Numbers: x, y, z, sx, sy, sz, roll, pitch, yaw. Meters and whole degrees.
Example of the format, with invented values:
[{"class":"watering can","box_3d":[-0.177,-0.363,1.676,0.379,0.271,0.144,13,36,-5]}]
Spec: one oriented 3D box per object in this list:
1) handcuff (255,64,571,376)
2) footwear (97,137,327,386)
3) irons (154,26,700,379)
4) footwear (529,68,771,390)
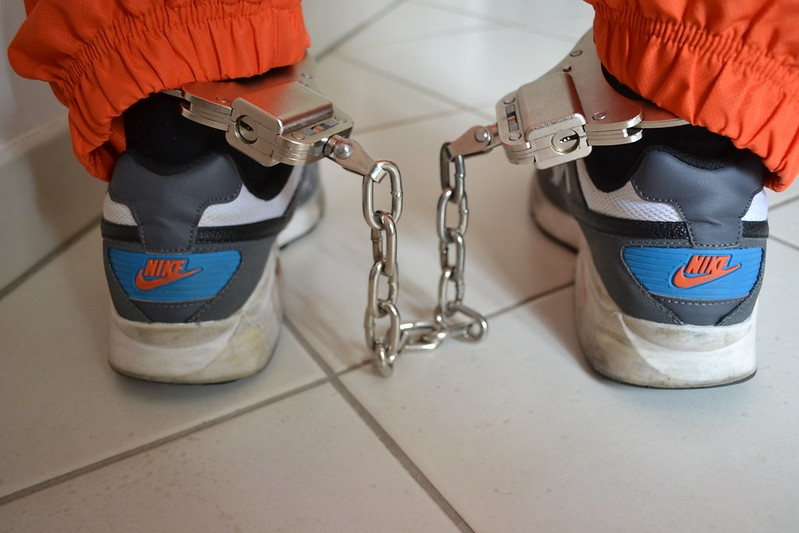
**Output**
[{"class":"handcuff","box_3d":[0.030,-0.070,0.940,0.308,0.562,0.373,0,-5,6]},{"class":"footwear","box_3d":[-0.364,-0.071,1.211,0.281,0.339,0.669,1,16,-4]},{"class":"irons","box_3d":[0.021,-0.159,1.066,0.442,0.745,0.696,0,1,-2]},{"class":"footwear","box_3d":[0.375,-0.096,1.026,0.230,0.246,0.550,-2,45,3]}]
